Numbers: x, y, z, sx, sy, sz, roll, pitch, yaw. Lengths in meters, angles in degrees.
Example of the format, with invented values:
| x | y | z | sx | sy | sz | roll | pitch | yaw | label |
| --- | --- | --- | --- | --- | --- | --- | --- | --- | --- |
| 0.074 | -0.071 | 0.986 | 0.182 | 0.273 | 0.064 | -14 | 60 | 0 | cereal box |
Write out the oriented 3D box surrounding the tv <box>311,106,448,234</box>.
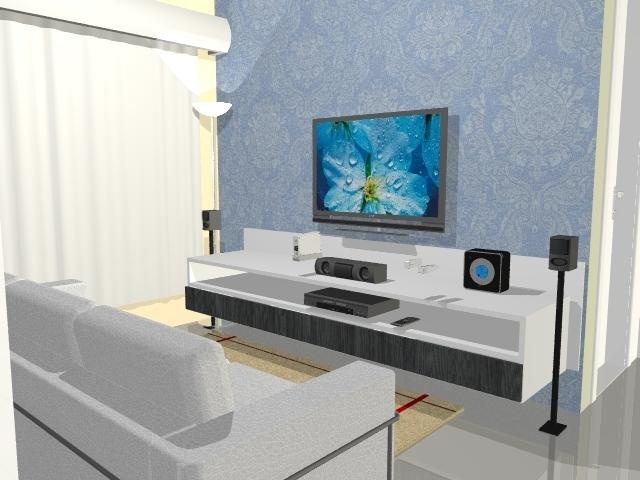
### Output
| x | y | z | sx | sy | sz | roll | pitch | yaw | label |
| --- | --- | --- | --- | --- | --- | --- | --- | --- | --- |
| 0.428 | -0.556 | 3.985 | 1.377 | 0.907 | 0.047 | 8 | 3 | 44 | tv |

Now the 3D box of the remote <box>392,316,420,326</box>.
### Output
| x | y | z | sx | sy | sz | roll | pitch | yaw | label |
| --- | --- | --- | --- | --- | --- | --- | --- | --- | --- |
| 0.569 | 0.546 | 3.364 | 0.068 | 0.015 | 0.125 | 6 | 10 | 44 | remote |

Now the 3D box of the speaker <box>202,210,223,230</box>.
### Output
| x | y | z | sx | sy | sz | roll | pitch | yaw | label |
| --- | --- | --- | --- | --- | --- | --- | --- | --- | --- |
| -1.074 | -0.196 | 4.975 | 0.214 | 0.235 | 0.180 | -1 | 3 | -39 | speaker |

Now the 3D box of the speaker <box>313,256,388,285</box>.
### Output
| x | y | z | sx | sy | sz | roll | pitch | yaw | label |
| --- | --- | --- | --- | --- | --- | --- | --- | --- | --- |
| 0.232 | 0.220 | 3.733 | 0.582 | 0.148 | 0.155 | 8 | 14 | 37 | speaker |

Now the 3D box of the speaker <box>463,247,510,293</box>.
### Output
| x | y | z | sx | sy | sz | roll | pitch | yaw | label |
| --- | --- | --- | --- | --- | --- | --- | --- | --- | --- |
| 1.086 | 0.210 | 3.294 | 0.286 | 0.259 | 0.155 | 4 | 6 | 40 | speaker |
